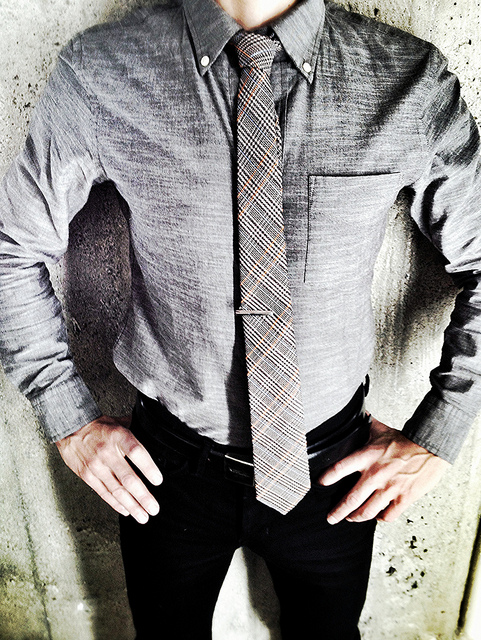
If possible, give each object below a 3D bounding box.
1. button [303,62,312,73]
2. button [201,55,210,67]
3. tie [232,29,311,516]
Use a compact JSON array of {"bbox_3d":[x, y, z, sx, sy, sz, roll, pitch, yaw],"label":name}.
[{"bbox_3d":[0.101,-0.385,0.975,0.013,0.011,0.012,2,60,3],"label":"button"},{"bbox_3d":[-0.056,-0.395,0.976,0.015,0.003,0.013,1,92,28],"label":"button"},{"bbox_3d":[0.042,-0.081,0.968,0.112,0.040,0.713,-3,79,2],"label":"tie"}]
